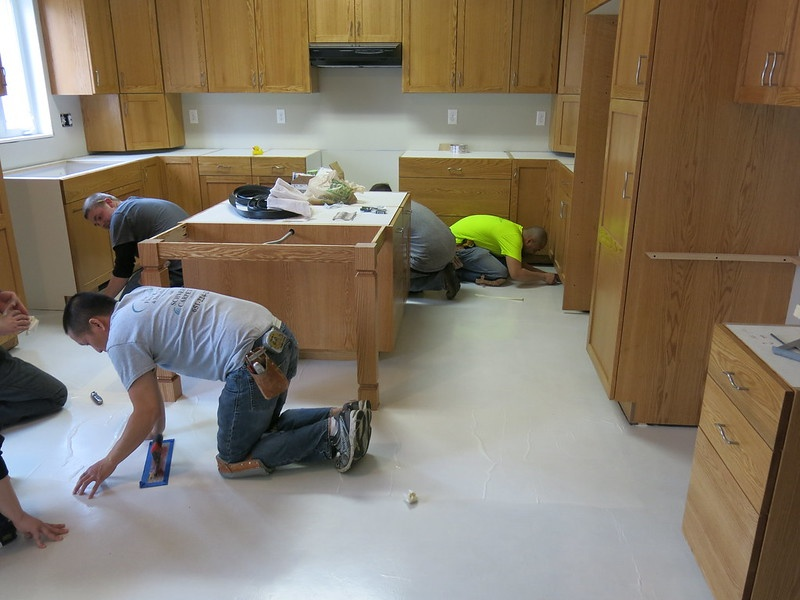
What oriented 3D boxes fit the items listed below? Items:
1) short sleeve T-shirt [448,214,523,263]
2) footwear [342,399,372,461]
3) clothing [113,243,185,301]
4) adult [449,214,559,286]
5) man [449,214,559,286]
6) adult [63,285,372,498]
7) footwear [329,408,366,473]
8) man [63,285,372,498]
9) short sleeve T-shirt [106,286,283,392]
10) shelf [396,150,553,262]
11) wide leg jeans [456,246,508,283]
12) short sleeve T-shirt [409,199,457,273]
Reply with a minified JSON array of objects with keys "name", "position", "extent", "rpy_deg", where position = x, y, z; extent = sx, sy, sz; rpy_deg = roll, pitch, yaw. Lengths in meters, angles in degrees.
[{"name":"short sleeve T-shirt","position":[0.735,-0.487,4.854],"extent":[0.525,0.172,0.421],"rpy_deg":[10,31,-7]},{"name":"footwear","position":[-0.203,0.581,2.599],"extent":[0.128,0.314,0.103],"rpy_deg":[2,-4,13]},{"name":"clothing","position":[-1.382,-0.165,3.058],"extent":[0.303,0.541,0.178],"rpy_deg":[-5,-21,-12]},{"name":"adult","position":[0.913,-0.414,4.870],"extent":[0.863,0.467,0.565],"rpy_deg":[6,26,11]},{"name":"man","position":[0.875,-0.466,5.055],"extent":[1.124,0.604,0.702],"rpy_deg":[9,14,10]},{"name":"adult","position":[-0.677,0.311,2.603],"extent":[1.306,0.795,0.805],"rpy_deg":[3,14,3]},{"name":"footwear","position":[-0.233,0.624,2.499],"extent":[0.147,0.336,0.121],"rpy_deg":[-1,-9,7]},{"name":"man","position":[-0.867,0.392,2.536],"extent":[1.433,0.856,0.842],"rpy_deg":[1,18,12]},{"name":"short sleeve T-shirt","position":[-0.901,0.135,2.331],"extent":[0.503,0.254,0.514],"rpy_deg":[14,31,-12]},{"name":"shelf","position":[0.684,-0.833,4.934],"extent":[1.050,0.675,0.376],"rpy_deg":[1,13,5]},{"name":"wide leg jeans","position":[0.708,-0.300,4.817],"extent":[0.372,0.160,0.304],"rpy_deg":[7,5,-4]},{"name":"short sleeve T-shirt","position":[0.176,-0.503,4.341],"extent":[0.500,0.186,0.361],"rpy_deg":[31,59,22]}]
